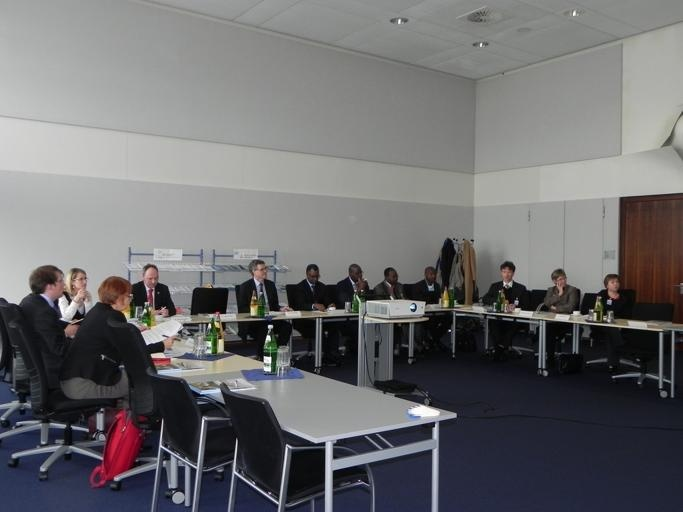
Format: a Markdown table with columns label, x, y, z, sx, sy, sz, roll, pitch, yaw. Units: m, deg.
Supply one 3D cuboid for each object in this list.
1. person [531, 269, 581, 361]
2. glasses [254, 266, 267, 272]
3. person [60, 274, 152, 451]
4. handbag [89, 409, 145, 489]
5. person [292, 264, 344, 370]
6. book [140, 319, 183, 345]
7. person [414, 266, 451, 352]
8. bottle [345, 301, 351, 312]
| label | x | y | z | sx | sy | sz | roll | pitch | yaw |
| --- | --- | --- | --- | --- | --- | --- | --- | --- | --- |
| person | 3.000 | 0.816 | 8.011 | 0.481 | 1.245 | 0.614 | -2 | 1 | 44 |
| glasses | -1.006 | 0.149 | 7.230 | 0.074 | 0.087 | 0.172 | -1 | 0 | 27 |
| person | -1.821 | 0.824 | 4.642 | 0.503 | 1.316 | 0.758 | 9 | 7 | 40 |
| handbag | -1.663 | 1.416 | 4.305 | 0.196 | 0.599 | 0.355 | 13 | 4 | -36 |
| person | -0.339 | 0.825 | 8.066 | 0.719 | 1.355 | 0.568 | 6 | 7 | 44 |
| book | -1.497 | 0.627 | 4.799 | 0.165 | 0.064 | 0.260 | 12 | 14 | 27 |
| person | 1.408 | 0.753 | 9.042 | 0.452 | 1.265 | 0.616 | 0 | -2 | -28 |
| bottle | 0.067 | 0.666 | 7.611 | 0.086 | 0.167 | 0.088 | 1 | -2 | 0 |
